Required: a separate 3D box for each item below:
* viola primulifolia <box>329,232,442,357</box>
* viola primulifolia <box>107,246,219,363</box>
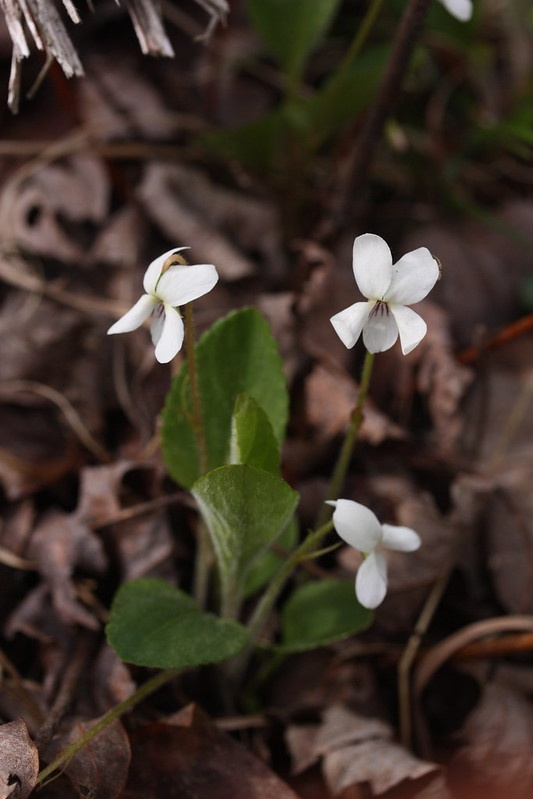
[{"bbox_3d":[0.204,-0.162,1.270,0.163,0.199,0.182,7,47,12],"label":"viola primulifolia"},{"bbox_3d":[-0.173,-0.188,1.346,0.151,0.187,0.213,-4,2,-43],"label":"viola primulifolia"}]
